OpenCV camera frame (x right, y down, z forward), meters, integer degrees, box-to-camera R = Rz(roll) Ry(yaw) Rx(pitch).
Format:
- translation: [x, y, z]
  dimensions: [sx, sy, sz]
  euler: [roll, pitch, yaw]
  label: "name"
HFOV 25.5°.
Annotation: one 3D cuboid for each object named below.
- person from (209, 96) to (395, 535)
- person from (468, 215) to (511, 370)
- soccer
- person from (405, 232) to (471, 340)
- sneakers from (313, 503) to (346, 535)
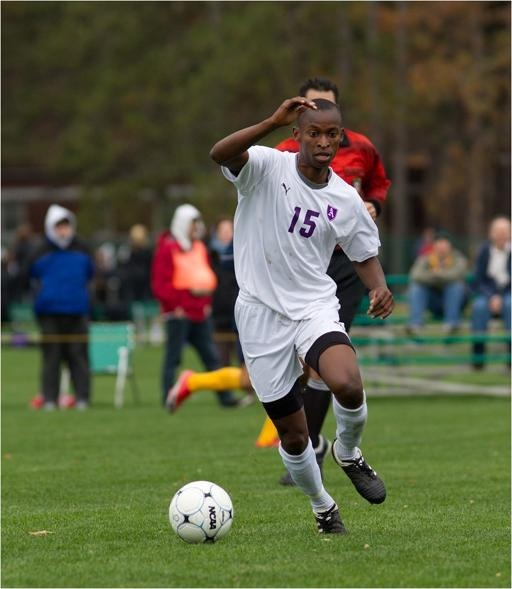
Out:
- translation: [0.242, 0.129, 5.512]
  dimensions: [0.845, 2.118, 0.588]
  euler: [-1, 2, 5]
  label: "person"
- translation: [2.391, 0.009, 11.538]
  dimensions: [0.402, 1.558, 0.890]
  euler: [-1, 2, 10]
  label: "person"
- translation: [-0.235, 1.096, 5.685]
  dimensions: [0.292, 0.274, 0.278]
  euler: [11, -11, 13]
  label: "soccer"
- translation: [1.908, -0.079, 11.981]
  dimensions: [0.584, 1.042, 0.473]
  euler: [0, 2, 22]
  label: "person"
- translation: [0.372, 1.119, 5.666]
  dimensions: [0.080, 0.210, 0.102]
  euler: [-10, 7, 44]
  label: "sneakers"
